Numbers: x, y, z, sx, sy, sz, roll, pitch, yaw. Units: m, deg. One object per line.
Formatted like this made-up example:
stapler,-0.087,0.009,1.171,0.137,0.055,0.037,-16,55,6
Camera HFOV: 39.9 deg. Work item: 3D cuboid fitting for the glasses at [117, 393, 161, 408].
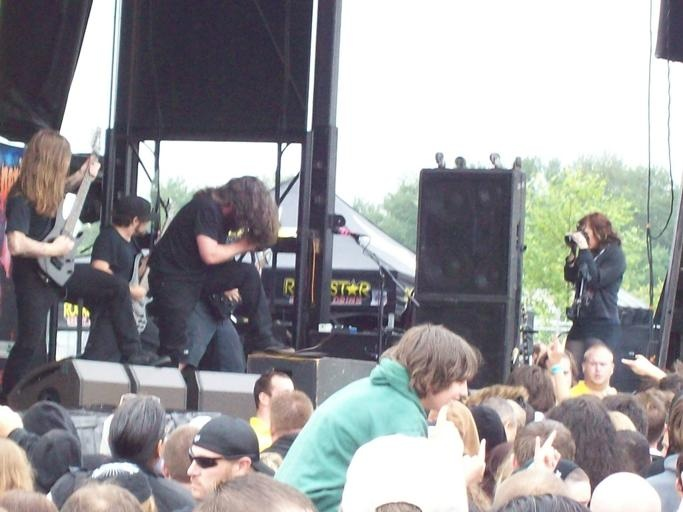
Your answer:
glasses,-1.114,0.786,5.127,0.197,0.132,0.195,-1,-12,3

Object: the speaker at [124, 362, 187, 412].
speaker,-1.269,0.887,6.536,0.502,0.286,0.339,4,2,-14

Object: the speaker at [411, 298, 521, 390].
speaker,0.859,0.716,8.576,0.782,0.845,1.488,2,0,3

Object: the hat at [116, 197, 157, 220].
hat,-1.469,-0.344,6.625,0.178,0.169,0.152,-4,7,-24

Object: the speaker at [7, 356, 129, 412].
speaker,-1.779,0.840,6.187,0.412,0.206,0.446,-10,-12,38

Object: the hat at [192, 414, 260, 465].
hat,-0.578,0.894,4.646,0.268,0.170,0.198,11,0,-28

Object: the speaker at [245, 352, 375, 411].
speaker,-0.286,0.853,6.949,0.511,0.351,0.538,-3,-5,31

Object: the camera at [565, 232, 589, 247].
camera,2.189,-0.139,8.725,0.164,0.105,0.162,37,-50,-21

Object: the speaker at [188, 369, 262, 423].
speaker,-0.841,0.977,6.794,0.545,0.310,0.514,7,1,-25
